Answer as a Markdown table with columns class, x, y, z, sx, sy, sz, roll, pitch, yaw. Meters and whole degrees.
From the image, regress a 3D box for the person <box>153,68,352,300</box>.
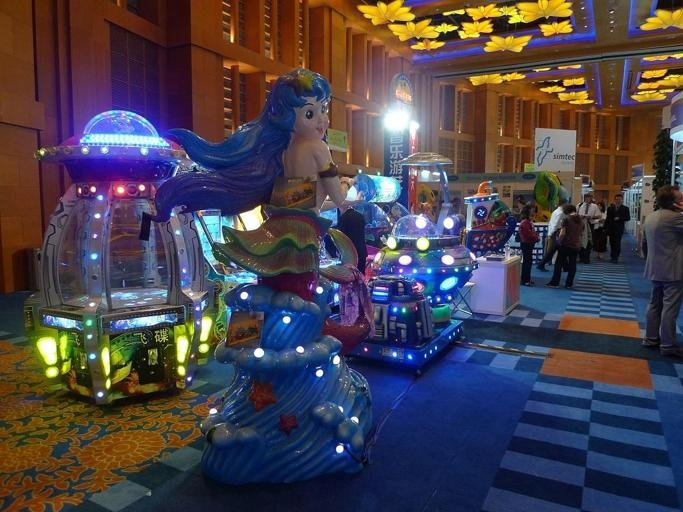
| class | x | y | z | sx | sy | sz | roll | pitch | yaw |
| --- | --- | --- | --- | --- | --- | --- | --- | --- | --- |
| person | -0.508 | -0.487 | 3.082 | 1.160 | 1.532 | 0.606 | 1 | 10 | 6 |

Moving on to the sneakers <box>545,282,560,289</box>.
| class | x | y | z | sx | sy | sz | roll | pitch | yaw |
| --- | --- | --- | --- | --- | --- | --- | --- | --- | --- |
| sneakers | 3.898 | 0.530 | 8.561 | 0.220 | 0.094 | 0.094 | 5 | -5 | -17 |

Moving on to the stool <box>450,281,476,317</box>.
| class | x | y | z | sx | sy | sz | roll | pitch | yaw |
| --- | --- | --- | --- | --- | --- | --- | --- | --- | --- |
| stool | 1.790 | 0.571 | 6.801 | 0.264 | 0.360 | 0.338 | 1 | -18 | 14 |

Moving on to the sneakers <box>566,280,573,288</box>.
| class | x | y | z | sx | sy | sz | roll | pitch | yaw |
| --- | --- | --- | --- | --- | --- | --- | --- | --- | --- |
| sneakers | 4.151 | 0.497 | 8.446 | 0.116 | 0.111 | 0.115 | 0 | 11 | -2 |

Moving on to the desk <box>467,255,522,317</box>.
| class | x | y | z | sx | sy | sz | roll | pitch | yaw |
| --- | --- | --- | --- | --- | --- | --- | --- | --- | --- |
| desk | 2.314 | 0.382 | 6.990 | 0.605 | 0.737 | 1.058 | 3 | 8 | 30 |

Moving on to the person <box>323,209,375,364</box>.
| class | x | y | z | sx | sy | sz | roll | pitch | yaw |
| --- | --- | --- | --- | --- | --- | --- | --- | --- | --- |
| person | 0.017 | 0.249 | 3.390 | 0.404 | 0.984 | 0.231 | -4 | 15 | -6 |
